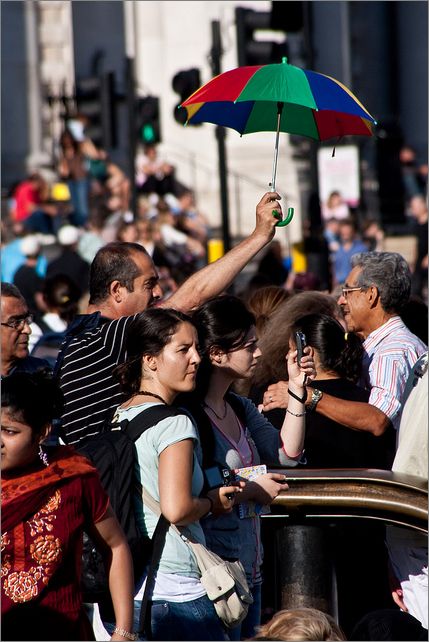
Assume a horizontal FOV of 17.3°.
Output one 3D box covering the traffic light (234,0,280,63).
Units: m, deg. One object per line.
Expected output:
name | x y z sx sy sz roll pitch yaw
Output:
traffic light | 0.370 -2.582 12.670 0.394 0.493 0.376 -4 12 -12

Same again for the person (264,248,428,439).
person | 0.547 0.054 7.196 0.853 1.021 1.142 1 -3 18

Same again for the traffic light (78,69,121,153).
traffic light | -1.171 -2.147 14.316 0.291 0.782 0.675 -7 13 -24

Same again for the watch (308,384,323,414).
watch | 0.474 0.374 6.686 0.070 0.108 0.096 22 -22 16

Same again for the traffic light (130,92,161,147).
traffic light | -0.732 -2.196 15.280 0.251 0.539 0.706 -2 12 -3
